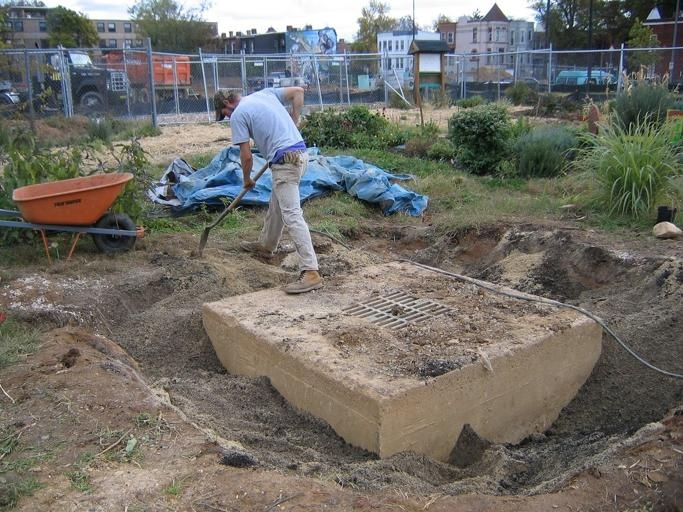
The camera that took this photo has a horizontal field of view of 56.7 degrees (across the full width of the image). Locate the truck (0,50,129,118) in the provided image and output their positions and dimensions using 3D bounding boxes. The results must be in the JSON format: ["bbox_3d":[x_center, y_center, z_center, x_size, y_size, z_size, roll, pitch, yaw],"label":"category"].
[{"bbox_3d":[-7.340,-4.417,17.047,2.592,1.475,1.720,-4,24,-9],"label":"truck"}]

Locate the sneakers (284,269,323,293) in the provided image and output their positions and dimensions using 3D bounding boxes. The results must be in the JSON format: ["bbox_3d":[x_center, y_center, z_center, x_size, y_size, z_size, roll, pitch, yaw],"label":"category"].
[{"bbox_3d":[-0.391,0.262,6.338,0.402,0.298,0.172,2,2,-14],"label":"sneakers"}]
